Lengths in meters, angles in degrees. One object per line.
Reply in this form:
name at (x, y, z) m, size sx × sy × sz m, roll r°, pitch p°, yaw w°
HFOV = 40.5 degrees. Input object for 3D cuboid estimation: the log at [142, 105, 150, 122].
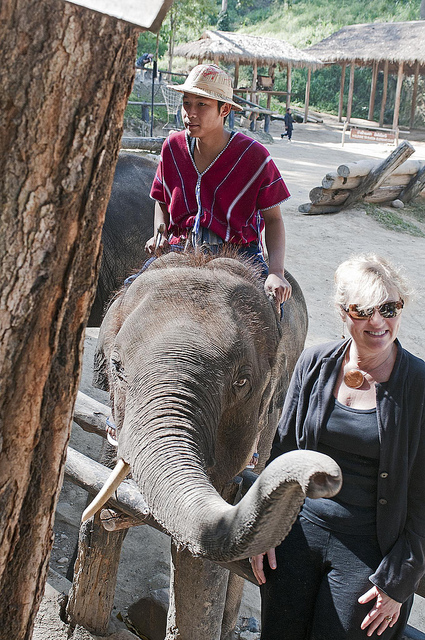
log at (-2.074, -6.409, 17.984) m, size 0.243 × 0.469 × 0.729 m, roll 4°, pitch 13°, yaw -8°

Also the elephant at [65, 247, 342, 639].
elephant at (-0.037, 0.203, 1.481) m, size 0.523 × 0.767 × 1.297 m, roll 3°, pitch 4°, yaw 6°

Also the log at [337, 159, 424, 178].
log at (3.751, -3.277, 12.569) m, size 2.577 × 0.502 × 0.457 m, roll -11°, pitch 22°, yaw -30°

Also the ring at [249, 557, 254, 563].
ring at (0.129, 0.792, 1.902) m, size 0.012 × 0.015 × 0.029 m, roll -3°, pitch -19°, yaw 2°

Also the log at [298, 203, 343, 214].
log at (2.357, -2.375, 12.376) m, size 0.980 × 0.239 × 0.224 m, roll 1°, pitch 14°, yaw -20°

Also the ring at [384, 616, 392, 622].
ring at (0.507, 0.856, 1.659) m, size 0.016 × 0.005 × 0.023 m, roll 1°, pitch 3°, yaw -38°

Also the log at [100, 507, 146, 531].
log at (-0.393, 0.895, 2.566) m, size 0.171 × 0.070 × 0.098 m, roll 12°, pitch 27°, yaw 11°

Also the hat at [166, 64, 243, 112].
hat at (-0.006, -0.967, 2.397) m, size 0.223 × 0.111 × 0.218 m, roll 16°, pitch -10°, yaw 4°
